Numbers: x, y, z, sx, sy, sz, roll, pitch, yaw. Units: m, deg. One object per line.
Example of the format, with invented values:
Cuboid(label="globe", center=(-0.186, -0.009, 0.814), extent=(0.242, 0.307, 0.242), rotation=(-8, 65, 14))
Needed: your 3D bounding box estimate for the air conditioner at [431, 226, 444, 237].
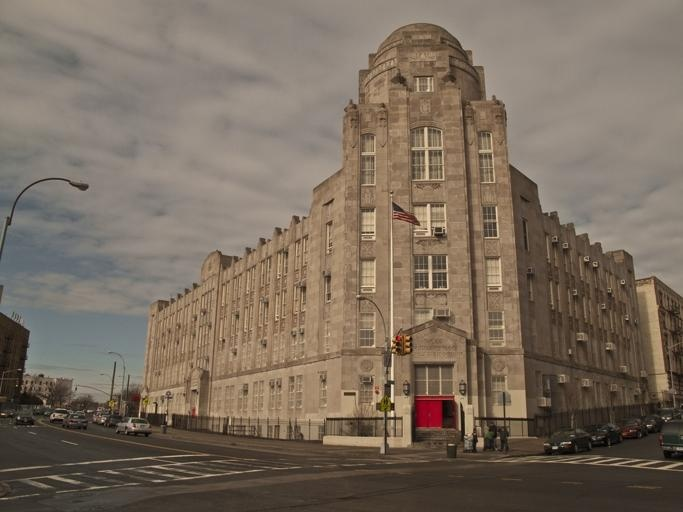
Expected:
Cuboid(label="air conditioner", center=(8.810, -2.110, 52.655), extent=(1.388, 0.780, 0.997), rotation=(1, -8, -1))

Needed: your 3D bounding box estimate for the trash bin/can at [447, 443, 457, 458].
Cuboid(label="trash bin/can", center=(6.926, 12.156, 36.218), extent=(0.849, 0.980, 0.863), rotation=(1, -12, -6))

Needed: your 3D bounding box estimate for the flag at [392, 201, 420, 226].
Cuboid(label="flag", center=(5.371, -3.552, 49.032), extent=(2.520, 2.549, 0.360), rotation=(8, -32, -16))

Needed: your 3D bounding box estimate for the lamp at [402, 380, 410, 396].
Cuboid(label="lamp", center=(5.368, 10.910, 47.834), extent=(0.670, 1.259, 0.451), rotation=(1, -22, 1))

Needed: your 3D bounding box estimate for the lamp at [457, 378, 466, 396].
Cuboid(label="lamp", center=(10.077, 10.910, 48.071), extent=(0.764, 1.322, 0.515), rotation=(0, -22, 2))
